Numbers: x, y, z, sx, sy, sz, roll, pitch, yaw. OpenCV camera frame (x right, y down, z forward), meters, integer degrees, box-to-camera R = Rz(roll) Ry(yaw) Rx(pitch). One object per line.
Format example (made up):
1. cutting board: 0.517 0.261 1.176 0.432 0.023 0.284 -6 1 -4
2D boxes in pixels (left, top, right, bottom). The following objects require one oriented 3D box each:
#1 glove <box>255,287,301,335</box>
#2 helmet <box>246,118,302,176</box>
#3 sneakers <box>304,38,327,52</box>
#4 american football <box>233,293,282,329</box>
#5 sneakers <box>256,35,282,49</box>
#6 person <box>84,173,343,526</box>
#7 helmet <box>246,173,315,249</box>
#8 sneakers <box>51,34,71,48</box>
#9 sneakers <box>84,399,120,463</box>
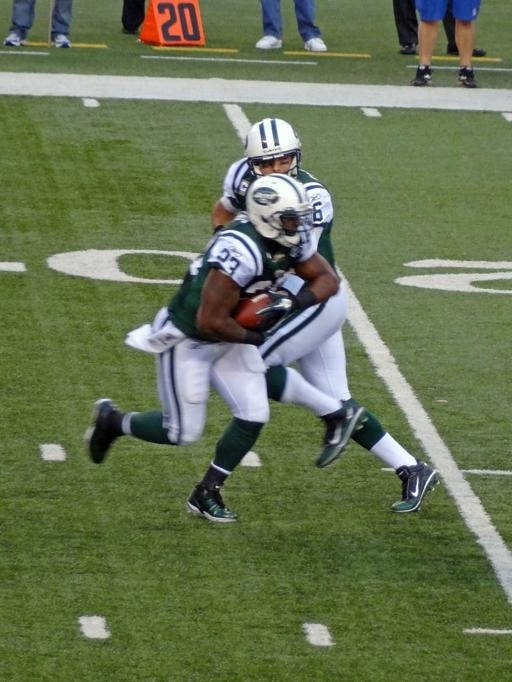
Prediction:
1. glove: 0.061 -0.096 4.359 0.113 0.156 0.071 49 20 -6
2. helmet: 0.059 -0.702 4.869 0.199 0.204 0.190 0 28 -2
3. sneakers: 0.581 -2.887 13.066 0.125 0.092 0.212 -4 12 -14
4. american football: -0.006 -0.088 4.366 0.139 0.118 0.068 -4 30 -10
5. sneakers: 0.123 -2.914 13.076 0.127 0.086 0.249 5 6 43
6. person: -0.178 -0.007 4.631 0.689 1.174 0.564 19 35 29
7. helmet: 0.086 -0.444 4.424 0.271 0.221 0.201 15 29 12
8. sneakers: -1.795 -2.773 12.379 0.127 0.080 0.206 -5 21 -16
9. sneakers: -0.539 0.317 4.800 0.103 0.232 0.115 23 12 3
